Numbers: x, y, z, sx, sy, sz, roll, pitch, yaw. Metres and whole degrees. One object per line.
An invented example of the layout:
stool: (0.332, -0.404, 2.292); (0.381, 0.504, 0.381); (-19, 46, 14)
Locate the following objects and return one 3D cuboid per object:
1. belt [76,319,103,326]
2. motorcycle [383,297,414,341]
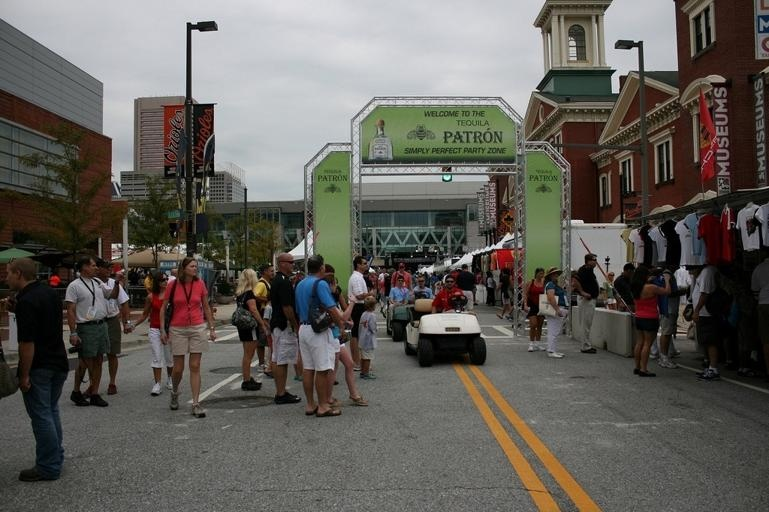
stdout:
belt: (-5.188, 1.167, 12.585); (0.440, 0.093, 0.119); (-2, 3, -23)
motorcycle: (0.366, 1.826, 19.876); (0.634, 0.779, 1.218); (-1, -5, -2)
